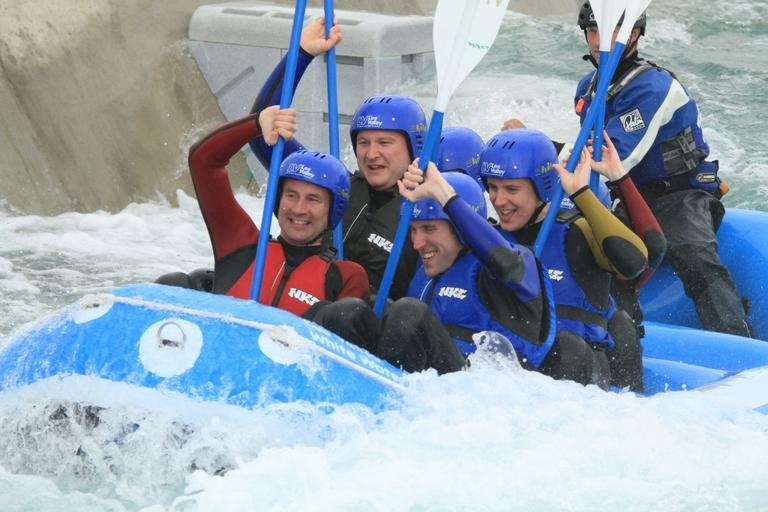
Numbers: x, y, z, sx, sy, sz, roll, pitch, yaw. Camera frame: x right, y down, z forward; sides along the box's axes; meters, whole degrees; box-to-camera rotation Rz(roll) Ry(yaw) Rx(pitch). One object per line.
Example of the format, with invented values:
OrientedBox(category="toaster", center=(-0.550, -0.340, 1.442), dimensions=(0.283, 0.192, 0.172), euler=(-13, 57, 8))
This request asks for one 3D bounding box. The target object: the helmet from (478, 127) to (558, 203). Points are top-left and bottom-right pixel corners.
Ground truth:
OrientedBox(category="helmet", center=(0.768, -0.508, 5.138), dimensions=(0.322, 0.320, 0.427), euler=(10, 24, 35))

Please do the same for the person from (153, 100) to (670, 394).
OrientedBox(category="person", center=(0.029, 0.165, 4.800), dimensions=(2.084, 0.792, 1.524), euler=(20, 10, 2))

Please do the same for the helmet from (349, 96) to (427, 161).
OrientedBox(category="helmet", center=(0.032, -0.778, 5.755), dimensions=(0.353, 0.377, 0.455), euler=(3, 10, 37))
